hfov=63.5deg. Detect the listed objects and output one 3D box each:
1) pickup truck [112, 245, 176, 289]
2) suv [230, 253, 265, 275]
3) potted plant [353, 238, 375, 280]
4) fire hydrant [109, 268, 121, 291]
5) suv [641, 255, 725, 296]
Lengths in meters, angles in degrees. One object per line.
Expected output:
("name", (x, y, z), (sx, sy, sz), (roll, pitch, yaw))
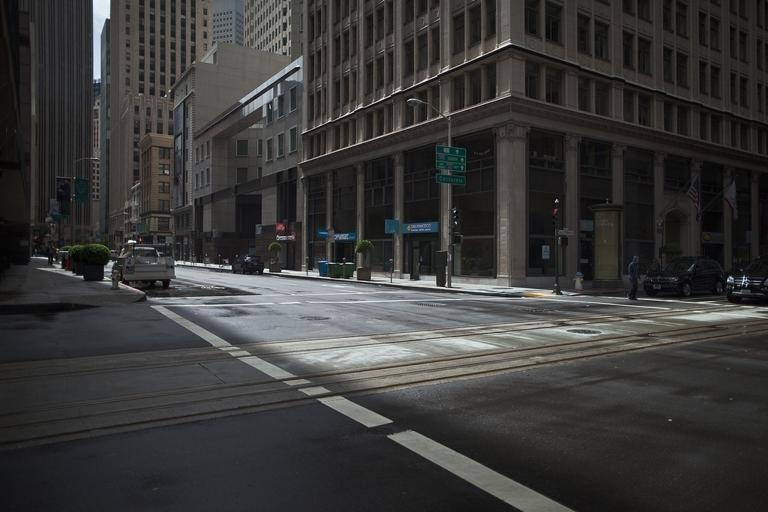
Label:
("pickup truck", (-11.445, 0.586, 29.643), (2.034, 2.091, 3.400), (-3, 6, -36))
("suv", (-11.586, 0.713, 53.438), (1.512, 1.403, 3.333), (1, 2, -27))
("potted plant", (-1.258, 0.202, 42.272), (1.421, 2.971, 1.206), (1, 1, -17))
("fire hydrant", (-12.122, 1.088, 28.173), (0.676, 0.929, 0.798), (-1, 2, -43))
("suv", (14.361, 1.105, 30.007), (4.085, 1.875, 1.963), (4, -7, -32))
